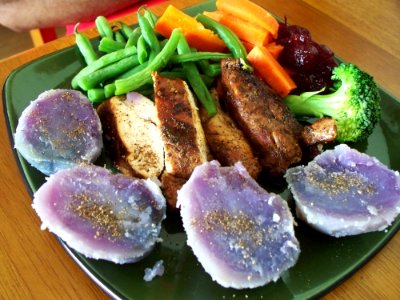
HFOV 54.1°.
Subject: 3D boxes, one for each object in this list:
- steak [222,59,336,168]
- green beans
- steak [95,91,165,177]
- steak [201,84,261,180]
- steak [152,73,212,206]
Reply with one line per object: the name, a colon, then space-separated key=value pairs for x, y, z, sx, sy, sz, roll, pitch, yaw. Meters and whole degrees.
steak: x=0.499 y=-0.198 z=2.929 sx=0.576 sy=0.334 sz=0.944 roll=-25 pitch=80 yaw=-17
green beans: x=-0.325 y=-0.567 z=2.945 sx=1.385 sy=0.853 sz=0.707 roll=-23 pitch=32 yaw=-35
steak: x=-0.479 y=-0.096 z=2.759 sx=0.425 sy=0.155 sz=0.616 roll=-2 pitch=68 yaw=-40
steak: x=0.227 y=-0.114 z=2.729 sx=0.268 sy=0.178 sz=0.839 roll=-12 pitch=63 yaw=-31
steak: x=-0.052 y=-0.053 z=2.726 sx=0.324 sy=0.816 sz=0.508 roll=-13 pitch=27 yaw=-16
